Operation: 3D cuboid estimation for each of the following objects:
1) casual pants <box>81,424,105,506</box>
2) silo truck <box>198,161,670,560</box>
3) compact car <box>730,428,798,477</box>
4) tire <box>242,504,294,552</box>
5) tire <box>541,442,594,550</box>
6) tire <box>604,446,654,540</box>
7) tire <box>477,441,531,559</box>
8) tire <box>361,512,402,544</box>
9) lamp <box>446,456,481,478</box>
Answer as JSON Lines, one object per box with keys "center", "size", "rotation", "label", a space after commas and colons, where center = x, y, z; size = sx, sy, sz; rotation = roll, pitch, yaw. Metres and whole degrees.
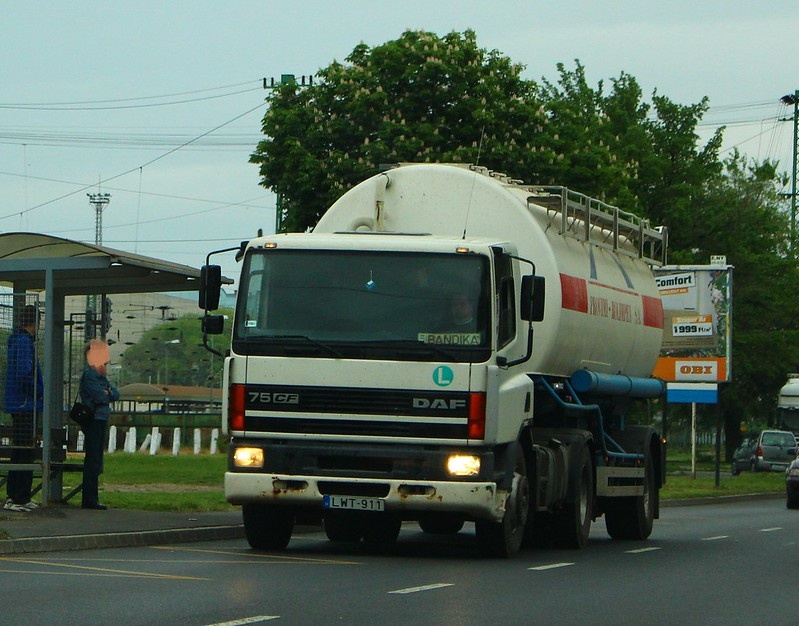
{"center": [-4.411, 2.182, 23.455], "size": [0.335, 1.272, 0.859], "rotation": [1, -2, -11], "label": "casual pants"}
{"center": [0.626, 0.911, 22.980], "size": [3.497, 4.129, 8.154], "rotation": [-3, -8, 26], "label": "silo truck"}
{"center": [12.560, 4.740, 55.267], "size": [1.431, 1.114, 2.592], "rotation": [-1, 1, -3], "label": "compact car"}
{"center": [-1.657, 2.738, 20.630], "size": [0.576, 0.496, 0.645], "rotation": [6, -9, -43], "label": "tire"}
{"center": [2.251, 2.470, 21.911], "size": [0.365, 1.270, 1.280], "rotation": [-1, -16, 15], "label": "tire"}
{"center": [3.455, 2.727, 24.459], "size": [0.479, 1.495, 1.495], "rotation": [1, 3, 19], "label": "tire"}
{"center": [1.273, 2.291, 20.030], "size": [0.710, 1.493, 1.365], "rotation": [0, -11, 14], "label": "tire"}
{"center": [-0.222, 2.821, 20.973], "size": [0.584, 0.140, 0.595], "rotation": [-20, -26, 27], "label": "tire"}
{"center": [0.774, 1.824, 19.310], "size": [0.442, 0.298, 0.238], "rotation": [1, -4, -9], "label": "lamp"}
